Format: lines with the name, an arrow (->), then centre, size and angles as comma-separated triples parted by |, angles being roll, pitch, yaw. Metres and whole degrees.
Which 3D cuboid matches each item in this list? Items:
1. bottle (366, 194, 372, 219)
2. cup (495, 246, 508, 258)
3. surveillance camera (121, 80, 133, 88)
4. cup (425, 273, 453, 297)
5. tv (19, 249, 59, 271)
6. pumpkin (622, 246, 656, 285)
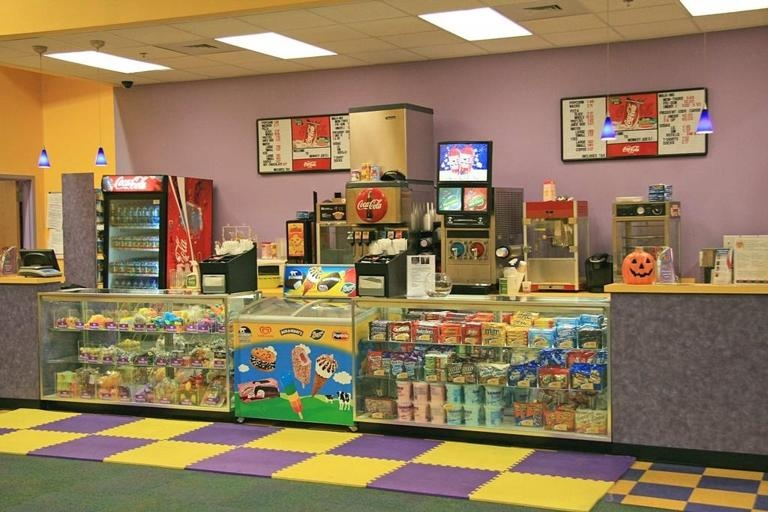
bottle -> -0.187, -0.636, 8.347 | 0.077, 0.294, 0.041 | -1, 7, 9
cup -> 1.380, -0.047, 7.428 | 0.155, 0.119, 0.087 | 0, 7, 11
surveillance camera -> -4.484, -3.013, 11.132 | 0.128, 0.071, 0.123 | -8, 12, -38
cup -> 0.540, 0.282, 6.265 | 0.251, 0.193, 0.234 | -1, 2, 0
tv -> -4.040, 0.022, 7.485 | 0.497, 0.303, 0.255 | 2, 3, 7
pumpkin -> 2.198, 0.090, 5.591 | 0.342, 0.338, 0.308 | 4, -4, -36
